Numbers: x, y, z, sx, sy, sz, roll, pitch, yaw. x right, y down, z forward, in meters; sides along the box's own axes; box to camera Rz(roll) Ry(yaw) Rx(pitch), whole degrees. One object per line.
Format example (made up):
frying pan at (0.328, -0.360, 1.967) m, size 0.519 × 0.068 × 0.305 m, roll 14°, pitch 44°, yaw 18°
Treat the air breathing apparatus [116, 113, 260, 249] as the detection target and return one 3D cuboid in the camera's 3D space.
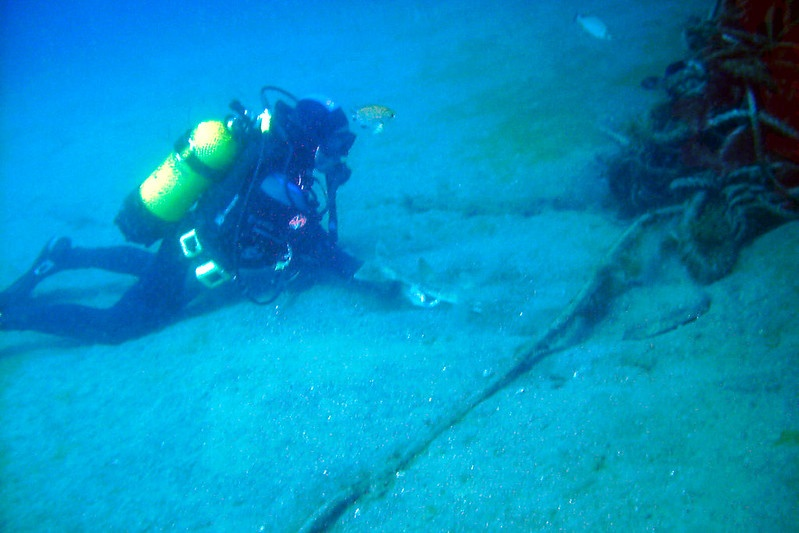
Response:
air breathing apparatus at (-2.356, -0.985, 8.272) m, size 1.933 × 0.790 × 0.847 m, roll -37°, pitch 27°, yaw 9°
